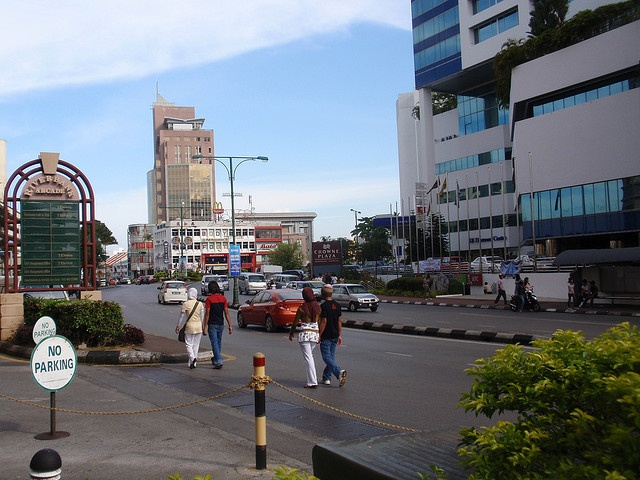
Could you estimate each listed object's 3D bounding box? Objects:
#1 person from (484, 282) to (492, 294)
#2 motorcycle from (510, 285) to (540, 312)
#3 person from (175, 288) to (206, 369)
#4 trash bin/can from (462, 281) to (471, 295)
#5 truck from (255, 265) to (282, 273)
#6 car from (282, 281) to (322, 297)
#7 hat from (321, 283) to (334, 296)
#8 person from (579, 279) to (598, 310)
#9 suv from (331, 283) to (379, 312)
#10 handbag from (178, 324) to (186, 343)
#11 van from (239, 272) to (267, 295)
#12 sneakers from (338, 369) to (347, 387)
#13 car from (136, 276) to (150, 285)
[{"bbox_3d":[11.650,3.303,41.132,0.460,0.671,0.990,-3,-2,10],"label":"person"},{"bbox_3d":[10.350,3.001,29.965,1.524,1.139,0.857,-2,0,19],"label":"motorcycle"},{"bbox_3d":[-2.998,2.059,13.935,0.628,1.872,0.702,-3,-2,-17],"label":"person"},{"bbox_3d":[10.494,3.449,42.457,0.671,1.300,0.687,-1,-1,7],"label":"trash bin/can"},{"bbox_3d":[-7.124,4.021,84.154,2.728,1.309,2.801,2,3,26],"label":"truck"},{"bbox_3d":[-0.988,2.739,36.390,1.330,1.097,2.942,1,3,-28],"label":"car"},{"bbox_3d":[0.152,0.992,12.080,0.170,0.222,0.239,5,7,3],"label":"hat"},{"bbox_3d":[13.407,2.648,29.672,0.801,1.327,1.264,-4,-2,33],"label":"person"},{"bbox_3d":[1.891,2.902,30.911,1.400,1.215,2.433,0,-3,-34],"label":"suv"},{"bbox_3d":[-3.152,2.145,13.680,0.156,0.381,0.325,-3,-2,-10],"label":"handbag"},{"bbox_3d":[-5.207,3.407,46.879,1.335,1.292,2.583,0,-5,-21],"label":"van"},{"bbox_3d":[0.450,2.702,11.662,0.118,0.308,0.135,1,7,-33],"label":"sneakers"},{"bbox_3d":[-27.572,6.239,92.961,1.601,1.042,2.397,0,2,-30],"label":"car"}]
